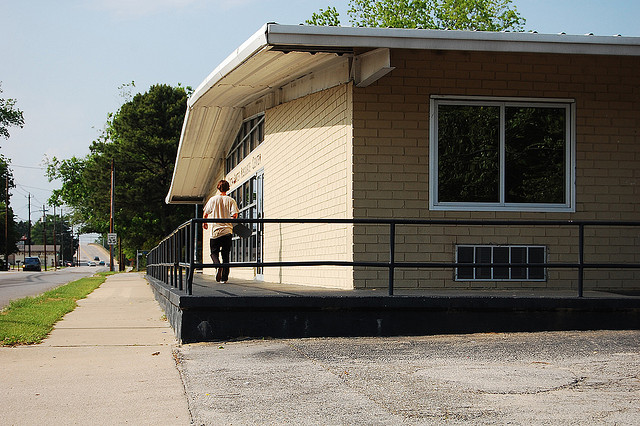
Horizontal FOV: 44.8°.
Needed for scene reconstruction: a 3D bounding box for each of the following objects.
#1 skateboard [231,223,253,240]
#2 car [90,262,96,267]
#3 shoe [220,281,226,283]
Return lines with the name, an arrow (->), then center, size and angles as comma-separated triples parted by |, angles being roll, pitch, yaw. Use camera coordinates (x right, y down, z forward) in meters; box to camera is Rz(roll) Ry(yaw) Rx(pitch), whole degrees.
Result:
skateboard -> -1.540, 0.392, 15.516 | 0.498, 0.266, 0.097 | 20, -20, 52
car -> -46.848, 10.646, 159.893 | 1.566, 1.154, 2.487 | 0, 4, -14
shoe -> -2.007, 1.435, 16.129 | 0.102, 0.025, 0.107 | 1, 0, -11
